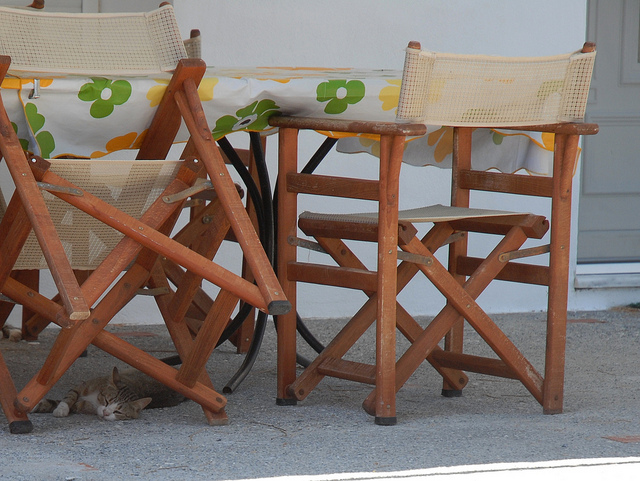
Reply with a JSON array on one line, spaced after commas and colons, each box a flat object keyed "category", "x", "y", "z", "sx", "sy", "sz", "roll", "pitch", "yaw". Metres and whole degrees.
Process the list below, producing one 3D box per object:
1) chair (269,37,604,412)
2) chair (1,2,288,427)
[{"category": "chair", "x": 0.408, "y": -0.035, "z": 3.106, "sx": 0.929, "sy": 1.268, "sz": 0.997, "roll": 0, "pitch": 2, "yaw": -30}, {"category": "chair", "x": -0.670, "y": -0.103, "z": 3.034, "sx": 0.925, "sy": 1.458, "sz": 1.623, "roll": 1, "pitch": 6, "yaw": -4}]
